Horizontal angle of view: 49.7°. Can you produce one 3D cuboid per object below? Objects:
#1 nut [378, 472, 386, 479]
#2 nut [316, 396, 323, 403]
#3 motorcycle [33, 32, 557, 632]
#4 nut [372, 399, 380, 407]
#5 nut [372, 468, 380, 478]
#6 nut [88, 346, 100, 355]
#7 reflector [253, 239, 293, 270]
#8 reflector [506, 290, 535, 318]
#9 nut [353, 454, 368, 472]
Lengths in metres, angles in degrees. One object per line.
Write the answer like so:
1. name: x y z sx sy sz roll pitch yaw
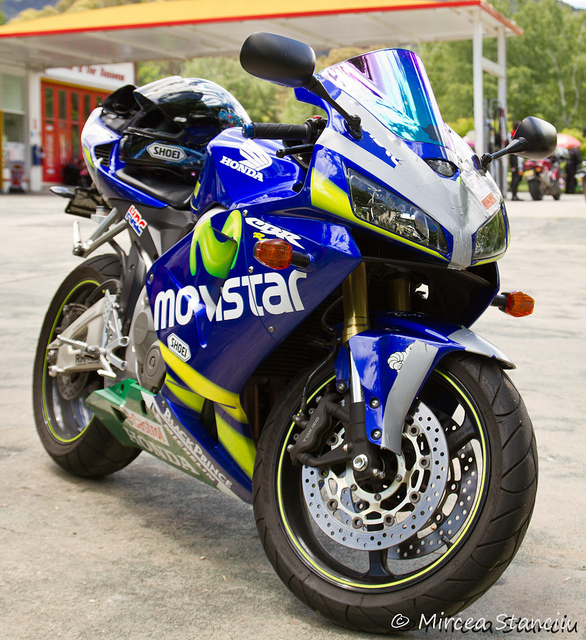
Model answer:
1. nut: 0.229 0.393 1.604 0.017 0.008 0.022 4 11 9
2. nut: 0.080 0.226 1.819 0.012 0.011 0.020 -46 4 -27
3. motorcycle: -0.132 0.004 2.199 0.748 1.695 1.981 0 4 -37
4. nut: 0.212 0.211 1.609 0.021 0.019 0.010 3 3 20
5. nut: 0.212 0.383 1.580 0.017 0.018 0.006 5 -1 -3
6. nut: -0.858 0.131 2.758 0.058 0.030 0.051 10 -3 6
7. reflector: -0.050 -0.178 1.693 0.106 0.078 0.063 2 3 2
8. reflector: 0.693 -0.048 1.981 0.102 0.064 0.041 12 -9 -35
9. nut: 0.173 0.358 1.590 0.012 0.042 0.044 -1 4 -41
